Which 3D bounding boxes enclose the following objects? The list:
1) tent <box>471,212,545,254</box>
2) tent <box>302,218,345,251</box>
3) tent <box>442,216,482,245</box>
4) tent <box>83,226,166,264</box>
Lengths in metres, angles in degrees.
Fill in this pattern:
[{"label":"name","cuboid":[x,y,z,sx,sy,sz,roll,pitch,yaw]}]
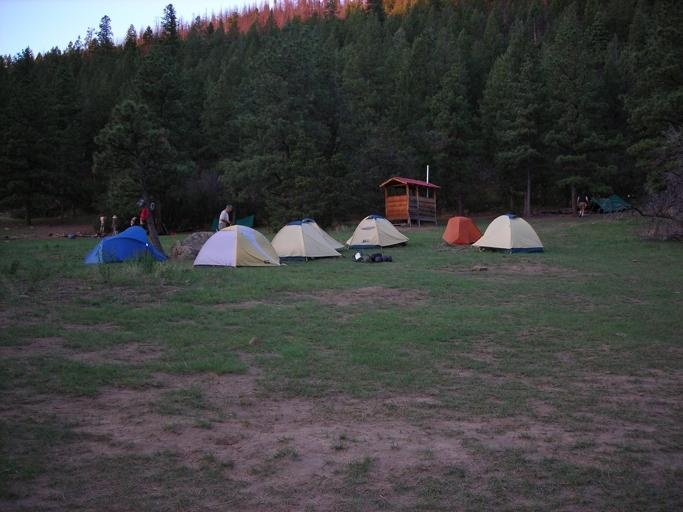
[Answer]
[{"label":"tent","cuboid":[6.999,-0.795,25.166,1.837,1.078,1.897,-1,7,6]},{"label":"tent","cuboid":[-1.073,-0.798,26.368,1.543,0.790,1.604,2,7,27]},{"label":"tent","cuboid":[5.746,-1.164,28.951,1.438,0.914,1.355,-10,10,-38]},{"label":"tent","cuboid":[-7.819,-0.162,21.755,1.929,0.788,1.598,-5,10,-29]}]
